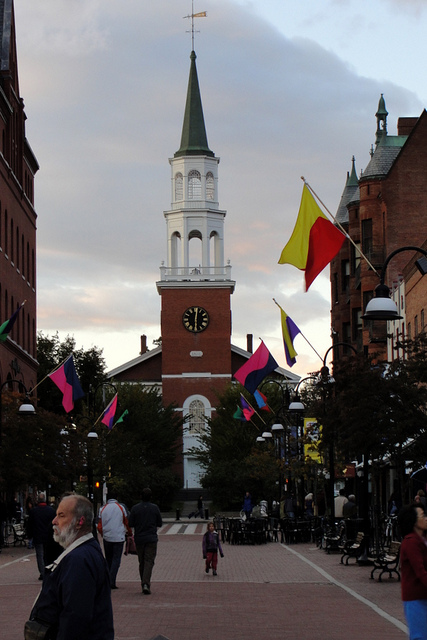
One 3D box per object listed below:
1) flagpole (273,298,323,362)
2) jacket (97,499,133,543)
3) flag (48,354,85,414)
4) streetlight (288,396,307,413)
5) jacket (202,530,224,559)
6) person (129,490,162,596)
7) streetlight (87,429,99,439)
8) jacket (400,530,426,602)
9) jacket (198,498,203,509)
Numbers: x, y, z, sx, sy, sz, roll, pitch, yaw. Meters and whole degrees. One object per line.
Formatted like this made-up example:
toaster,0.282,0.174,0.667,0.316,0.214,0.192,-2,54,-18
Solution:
flagpole,1.851,0.350,27.309,0.924,1.591,0.910,3,-12,-15
jacket,-1.416,2.957,16.775,0.374,0.689,0.348,2,-9,-21
flag,-4.868,2.108,38.342,1.052,2.061,2.654,1,-12,-6
streetlight,2.420,2.338,32.675,0.490,0.565,0.499,3,-14,-12
jacket,-0.003,4.195,21.442,0.354,0.488,0.787,0,-12,0
person,-1.002,3.318,17.094,0.452,1.528,0.934,0,-11,-2
streetlight,-4.535,4.219,43.270,0.481,0.480,0.491,1,-8,-4
jacket,1.562,1.909,8.906,0.197,0.551,0.311,-2,-11,9
jacket,-0.702,10.160,63.256,0.195,0.525,0.575,1,-12,-6
